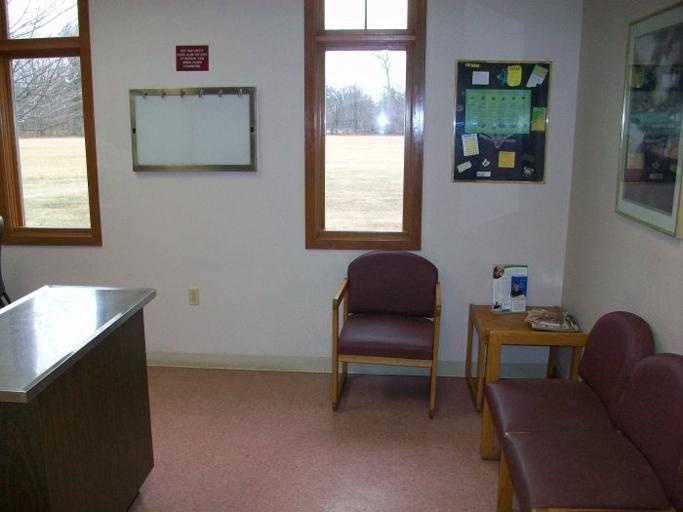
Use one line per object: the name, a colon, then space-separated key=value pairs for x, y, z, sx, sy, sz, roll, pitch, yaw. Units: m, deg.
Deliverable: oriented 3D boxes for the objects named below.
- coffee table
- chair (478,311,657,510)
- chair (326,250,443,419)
coffee table: x=1.194 y=0.677 z=3.682 sx=0.641 sy=0.606 sz=0.692 roll=-1 pitch=13 yaw=1
chair: x=1.156 y=0.730 z=3.251 sx=0.927 sy=1.460 sz=0.817 roll=1 pitch=3 yaw=2
chair: x=0.309 y=0.485 z=3.737 sx=0.726 sy=0.978 sz=0.615 roll=2 pitch=12 yaw=7
